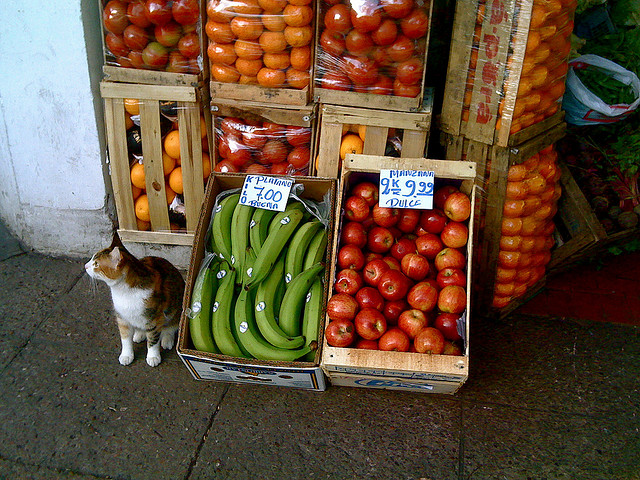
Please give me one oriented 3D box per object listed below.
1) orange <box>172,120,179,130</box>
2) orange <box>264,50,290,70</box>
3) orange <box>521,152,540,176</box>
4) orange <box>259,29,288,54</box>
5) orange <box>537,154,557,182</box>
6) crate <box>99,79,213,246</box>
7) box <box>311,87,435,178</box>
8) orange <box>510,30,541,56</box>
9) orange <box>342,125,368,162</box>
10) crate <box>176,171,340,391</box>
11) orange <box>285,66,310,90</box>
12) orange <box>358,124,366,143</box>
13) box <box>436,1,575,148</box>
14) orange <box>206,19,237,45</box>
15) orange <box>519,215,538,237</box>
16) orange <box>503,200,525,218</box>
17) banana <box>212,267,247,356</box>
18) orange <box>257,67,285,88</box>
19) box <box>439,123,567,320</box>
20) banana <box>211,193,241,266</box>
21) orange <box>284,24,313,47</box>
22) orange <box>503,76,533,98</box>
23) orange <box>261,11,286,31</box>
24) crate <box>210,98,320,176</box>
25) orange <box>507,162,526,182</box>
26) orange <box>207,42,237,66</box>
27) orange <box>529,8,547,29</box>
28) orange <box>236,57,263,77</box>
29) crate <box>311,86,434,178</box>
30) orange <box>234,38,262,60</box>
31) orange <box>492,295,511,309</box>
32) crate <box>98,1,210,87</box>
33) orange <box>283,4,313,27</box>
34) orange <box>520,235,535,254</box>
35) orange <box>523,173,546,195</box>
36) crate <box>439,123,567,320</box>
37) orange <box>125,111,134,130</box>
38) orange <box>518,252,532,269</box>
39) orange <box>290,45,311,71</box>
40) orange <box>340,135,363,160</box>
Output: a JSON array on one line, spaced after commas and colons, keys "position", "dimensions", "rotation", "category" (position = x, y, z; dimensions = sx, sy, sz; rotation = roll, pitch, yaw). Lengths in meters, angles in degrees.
[{"position": [-1.228, -0.981, 3.981], "dimensions": [0.063, 0.070, 0.061], "rotation": [-2, 51, -8], "category": "orange"}, {"position": [-0.335, -1.402, 3.659], "dimensions": [0.156, 0.146, 0.150], "rotation": [14, 4, 7], "category": "orange"}, {"position": [1.705, -0.608, 3.790], "dimensions": [0.148, 0.110, 0.197], "rotation": [-20, 23, 43], "category": "orange"}, {"position": [-0.359, -1.523, 3.579], "dimensions": [0.162, 0.162, 0.172], "rotation": [-1, -16, -3], "category": "orange"}, {"position": [1.874, -0.593, 3.863], "dimensions": [0.176, 0.229, 0.130], "rotation": [-6, 1, 11], "category": "orange"}, {"position": [-1.432, -0.731, 4.373], "dimensions": [0.958, 1.203, 0.883], "rotation": [-2, 14, -9], "category": "crate"}, {"position": [0.416, -0.865, 3.758], "dimensions": [0.950, 0.691, 0.598], "rotation": [1, 29, -1], "category": "box"}, {"position": [1.471, -1.401, 3.342], "dimensions": [0.151, 0.191, 0.112], "rotation": [8, 20, 15], "category": "orange"}, {"position": [0.287, -0.829, 3.846], "dimensions": [0.204, 0.233, 0.140], "rotation": [3, 27, 5], "category": "orange"}, {"position": [-0.453, 0.260, 3.436], "dimensions": [1.200, 1.663, 0.555], "rotation": [2, -17, 3], "category": "crate"}, {"position": [-0.175, -1.283, 3.751], "dimensions": [0.171, 0.159, 0.168], "rotation": [10, 10, 5], "category": "orange"}, {"position": [0.347, -0.887, 3.852], "dimensions": [0.096, 0.116, 0.099], "rotation": [-2, 1, 22], "category": "orange"}, {"position": [1.471, -1.276, 3.742], "dimensions": [0.836, 1.251, 0.728], "rotation": [13, 31, 24], "category": "box"}, {"position": [-0.762, -1.596, 3.619], "dimensions": [0.212, 0.126, 0.154], "rotation": [21, 30, -1], "category": "orange"}, {"position": [1.704, -0.110, 3.809], "dimensions": [0.138, 0.175, 0.099], "rotation": [2, -2, 7], "category": "orange"}, {"position": [1.529, -0.248, 3.693], "dimensions": [0.154, 0.117, 0.117], "rotation": [-7, 8, 13], "category": "orange"}, {"position": [-0.689, 0.537, 3.441], "dimensions": [0.240, 0.144, 0.700], "rotation": [0, 59, -25], "category": "banana"}, {"position": [-0.388, -1.282, 3.706], "dimensions": [0.163, 0.155, 0.162], "rotation": [1, 3, 30], "category": "orange"}, {"position": [1.255, -0.158, 4.061], "dimensions": [0.863, 1.685, 1.053], "rotation": [6, 32, 10], "category": "box"}, {"position": [-0.743, -0.079, 3.640], "dimensions": [0.143, 0.539, 0.192], "rotation": [8, -8, -25], "category": "banana"}, {"position": [-0.149, -1.579, 3.608], "dimensions": [0.238, 0.156, 0.110], "rotation": [-17, 32, -31], "category": "orange"}, {"position": [1.462, -1.121, 3.415], "dimensions": [0.224, 0.147, 0.077], "rotation": [-3, 27, -6], "category": "orange"}, {"position": [-0.347, -1.646, 3.516], "dimensions": [0.151, 0.114, 0.115], "rotation": [5, 11, 15], "category": "orange"}, {"position": [-0.487, -0.891, 4.107], "dimensions": [0.868, 0.626, 0.485], "rotation": [7, 23, 2], "category": "crate"}, {"position": [1.536, -0.529, 3.641], "dimensions": [0.148, 0.144, 0.060], "rotation": [-14, 30, -26], "category": "orange"}, {"position": [-0.763, -1.472, 3.677], "dimensions": [0.127, 0.130, 0.154], "rotation": [-32, -18, -5], "category": "orange"}, {"position": [1.534, -1.545, 3.254], "dimensions": [0.185, 0.130, 0.050], "rotation": [-18, 32, -33], "category": "orange"}, {"position": [-0.560, -1.366, 3.692], "dimensions": [0.142, 0.132, 0.138], "rotation": [4, 16, 5], "category": "orange"}, {"position": [0.403, -0.881, 3.991], "dimensions": [0.763, 0.471, 0.757], "rotation": [6, 35, 0], "category": "crate"}, {"position": [-0.560, -1.477, 3.611], "dimensions": [0.159, 0.146, 0.153], "rotation": [5, 15, 9], "category": "orange"}, {"position": [1.559, 0.531, 4.010], "dimensions": [0.123, 0.095, 0.068], "rotation": [-20, 54, 15], "category": "orange"}, {"position": [-1.317, -1.493, 3.799], "dimensions": [0.711, 0.759, 0.585], "rotation": [4, 26, 14], "category": "crate"}, {"position": [-0.166, -1.679, 3.494], "dimensions": [0.170, 0.162, 0.172], "rotation": [-5, -10, 18], "category": "orange"}, {"position": [1.719, 0.032, 3.917], "dimensions": [0.124, 0.151, 0.085], "rotation": [5, 8, -15], "category": "orange"}, {"position": [1.706, -0.446, 3.764], "dimensions": [0.198, 0.148, 0.155], "rotation": [5, 54, 7], "category": "orange"}, {"position": [1.238, -0.177, 4.029], "dimensions": [0.864, 1.686, 1.054], "rotation": [6, 32, 10], "category": "crate"}, {"position": [-1.591, -1.011, 3.976], "dimensions": [0.068, 0.120, 0.101], "rotation": [-7, 20, 8], "category": "orange"}, {"position": [1.735, 0.168, 3.925], "dimensions": [0.104, 0.133, 0.043], "rotation": [8, 14, -9], "category": "orange"}, {"position": [-0.154, -1.425, 3.666], "dimensions": [0.163, 0.195, 0.160], "rotation": [29, 28, 35], "category": "orange"}, {"position": [0.260, -0.781, 3.955], "dimensions": [0.198, 0.233, 0.198], "rotation": [4, -2, -3], "category": "orange"}]
